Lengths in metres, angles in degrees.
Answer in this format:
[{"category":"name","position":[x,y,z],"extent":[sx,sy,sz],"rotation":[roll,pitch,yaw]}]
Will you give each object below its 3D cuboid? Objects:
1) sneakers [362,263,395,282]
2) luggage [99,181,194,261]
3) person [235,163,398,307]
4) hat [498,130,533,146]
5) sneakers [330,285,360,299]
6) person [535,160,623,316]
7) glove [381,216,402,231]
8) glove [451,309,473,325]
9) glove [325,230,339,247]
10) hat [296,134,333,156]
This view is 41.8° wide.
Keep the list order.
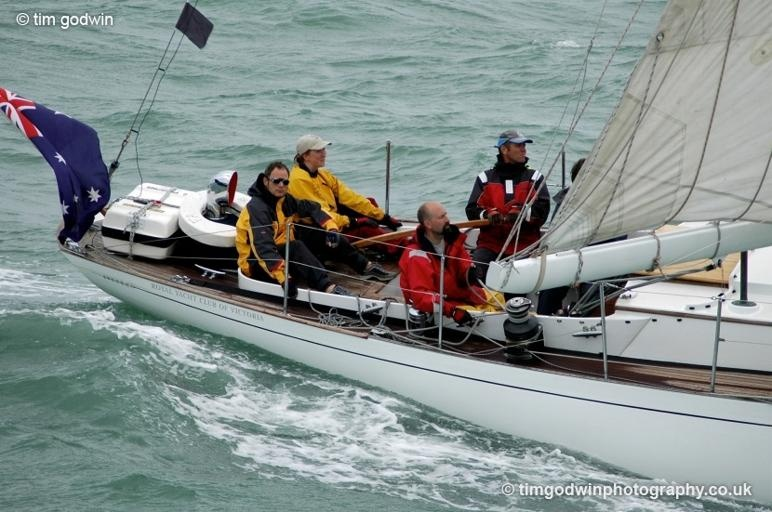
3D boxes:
[{"category":"sneakers","position":[-0.084,0.181,11.259],"extent":[0.476,0.136,0.158],"rotation":[5,17,6]},{"category":"luggage","position":[-2.732,-0.457,11.768],"extent":[1.272,0.613,1.208],"rotation":[9,22,9]},{"category":"person","position":[-0.891,-0.285,11.051],"extent":[1.945,1.135,1.114],"rotation":[22,31,14]},{"category":"hat","position":[1.335,-1.280,11.050],"extent":[0.503,0.129,0.286],"rotation":[-3,3,30]},{"category":"sneakers","position":[-0.394,0.384,10.859],"extent":[0.409,0.103,0.103],"rotation":[3,26,4]},{"category":"person","position":[1.945,-0.107,10.538],"extent":[0.835,1.379,1.345],"rotation":[3,-4,3]},{"category":"glove","position":[0.067,-0.402,11.978],"extent":[0.238,0.082,0.185],"rotation":[24,34,-10]},{"category":"glove","position":[0.783,0.609,10.224],"extent":[0.179,0.092,0.211],"rotation":[14,-14,40]},{"category":"glove","position":[-0.593,-0.196,11.047],"extent":[0.226,0.144,0.077],"rotation":[3,23,6]},{"category":"hat","position":[-0.852,-1.274,11.496],"extent":[0.473,0.153,0.260],"rotation":[-5,13,8]}]
